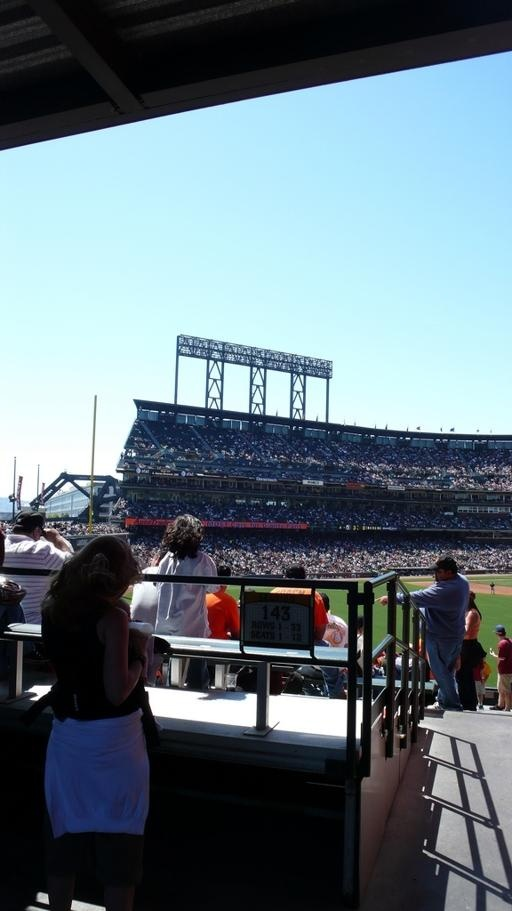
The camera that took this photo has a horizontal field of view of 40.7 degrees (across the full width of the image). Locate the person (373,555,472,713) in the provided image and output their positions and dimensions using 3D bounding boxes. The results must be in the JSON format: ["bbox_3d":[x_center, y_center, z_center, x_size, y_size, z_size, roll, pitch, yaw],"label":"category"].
[{"bbox_3d":[1.559,1.555,6.089,0.562,1.431,0.754,2,10,31],"label":"person"}]

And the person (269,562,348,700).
[{"bbox_3d":[0.442,1.157,4.528,0.467,0.927,0.390,0,-11,-28],"label":"person"}]
